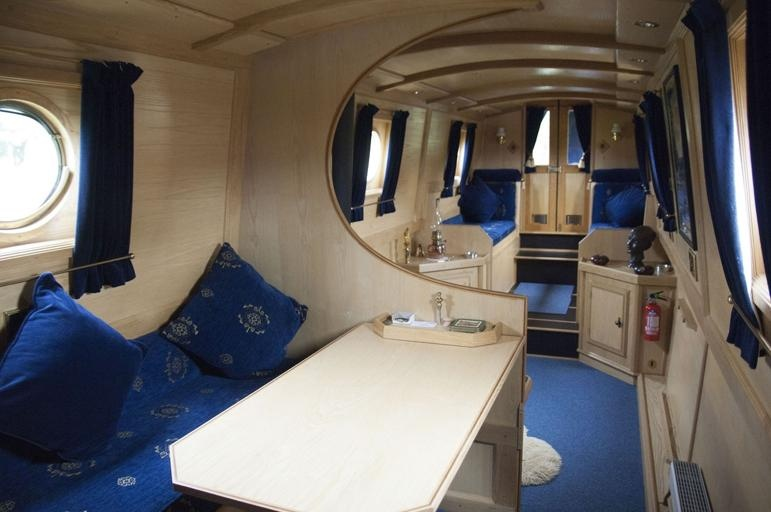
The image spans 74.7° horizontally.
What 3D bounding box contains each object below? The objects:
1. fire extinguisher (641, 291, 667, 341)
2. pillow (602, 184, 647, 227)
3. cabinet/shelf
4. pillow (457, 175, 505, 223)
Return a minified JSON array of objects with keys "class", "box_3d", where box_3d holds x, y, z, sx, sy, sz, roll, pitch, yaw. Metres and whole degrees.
[{"class":"fire extinguisher","box_3d":[2.552,0.592,4.828,0.188,0.510,0.229,10,11,30]},{"class":"pillow","box_3d":[3.255,-0.682,6.858,0.419,0.552,0.475,7,10,18]},{"class":"cabinet/shelf","box_3d":[2.434,0.682,5.034,0.539,0.951,0.865,-8,12,-30]},{"class":"pillow","box_3d":[1.531,-0.895,8.110,0.537,0.693,0.606,12,13,40]}]
